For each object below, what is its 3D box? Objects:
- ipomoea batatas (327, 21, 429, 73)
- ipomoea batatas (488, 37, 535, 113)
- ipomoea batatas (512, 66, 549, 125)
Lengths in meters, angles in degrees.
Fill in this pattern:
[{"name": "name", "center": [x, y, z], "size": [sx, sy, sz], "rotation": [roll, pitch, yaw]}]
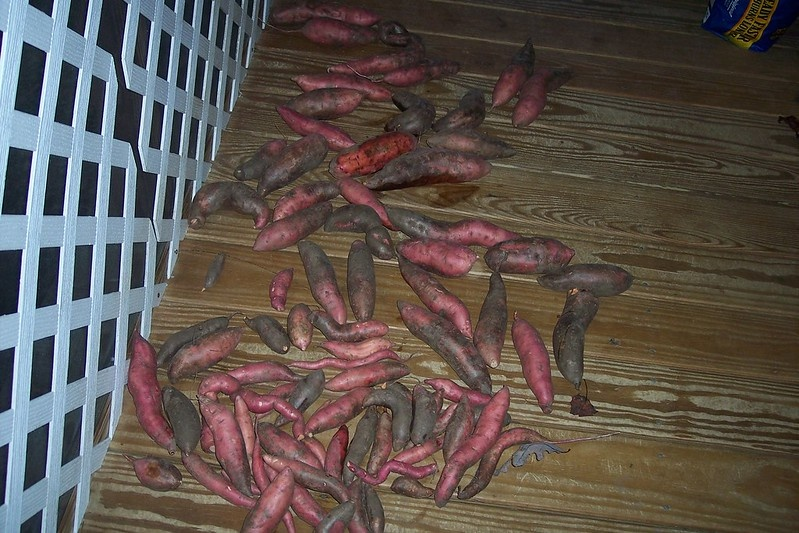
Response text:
[{"name": "ipomoea batatas", "center": [-0.095, -1.049, 3.022], "size": [0.413, 0.086, 0.214], "rotation": [-9, 56, -2]}, {"name": "ipomoea batatas", "center": [0.579, -0.949, 3.084], "size": [0.144, 0.110, 0.421], "rotation": [21, 75, 39]}, {"name": "ipomoea batatas", "center": [0.654, -0.833, 3.024], "size": [0.121, 0.097, 0.341], "rotation": [25, 50, 7]}]
